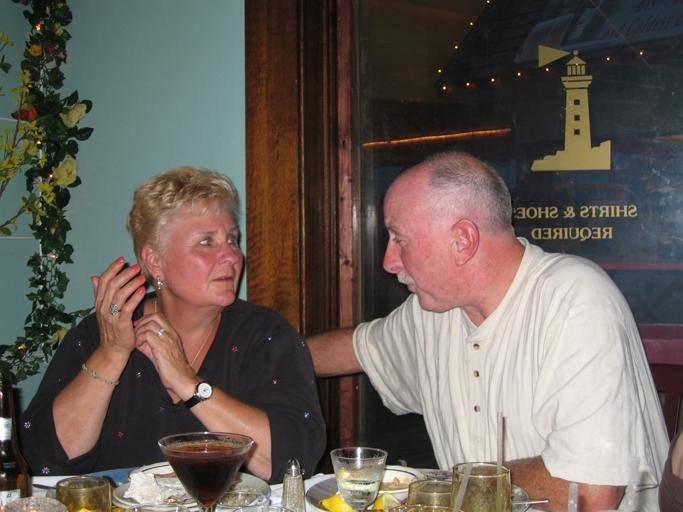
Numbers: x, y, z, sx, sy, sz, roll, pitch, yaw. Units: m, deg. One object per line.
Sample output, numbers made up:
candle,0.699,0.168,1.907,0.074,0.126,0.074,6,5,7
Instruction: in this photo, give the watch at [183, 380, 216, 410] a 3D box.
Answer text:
watch,-0.419,0.411,1.932,0.088,0.057,0.093,-40,-13,-12

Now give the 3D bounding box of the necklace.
necklace,-0.500,0.239,2.135,0.137,0.243,0.057,-18,11,26

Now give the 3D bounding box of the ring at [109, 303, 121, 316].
ring,-0.711,0.165,2.030,0.025,0.031,0.011,2,-13,3

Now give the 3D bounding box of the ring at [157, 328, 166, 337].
ring,-0.560,0.236,2.014,0.021,0.021,0.006,-2,-12,-6
